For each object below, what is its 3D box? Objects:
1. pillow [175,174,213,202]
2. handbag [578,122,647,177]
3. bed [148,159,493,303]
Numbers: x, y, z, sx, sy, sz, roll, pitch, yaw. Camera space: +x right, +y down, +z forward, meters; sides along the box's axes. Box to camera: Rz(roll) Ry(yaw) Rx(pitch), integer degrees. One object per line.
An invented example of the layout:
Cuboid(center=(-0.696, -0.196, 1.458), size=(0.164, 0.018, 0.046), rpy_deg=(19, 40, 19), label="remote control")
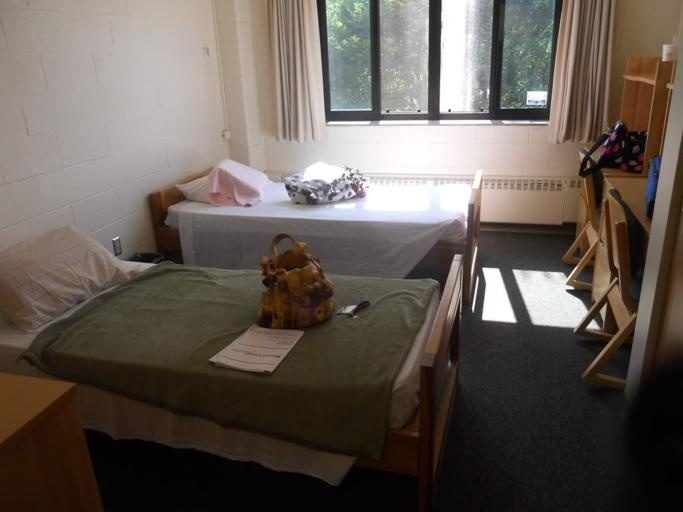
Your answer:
Cuboid(center=(-1.160, -0.529, 3.957), size=(0.223, 0.072, 0.230), rpy_deg=(9, 34, 5), label="pillow")
Cuboid(center=(1.878, -0.712, 3.423), size=(0.427, 0.172, 0.454), rpy_deg=(13, 41, 22), label="handbag")
Cuboid(center=(-0.172, -0.255, 3.665), size=(1.845, 0.620, 1.197), rpy_deg=(1, 27, 9), label="bed")
